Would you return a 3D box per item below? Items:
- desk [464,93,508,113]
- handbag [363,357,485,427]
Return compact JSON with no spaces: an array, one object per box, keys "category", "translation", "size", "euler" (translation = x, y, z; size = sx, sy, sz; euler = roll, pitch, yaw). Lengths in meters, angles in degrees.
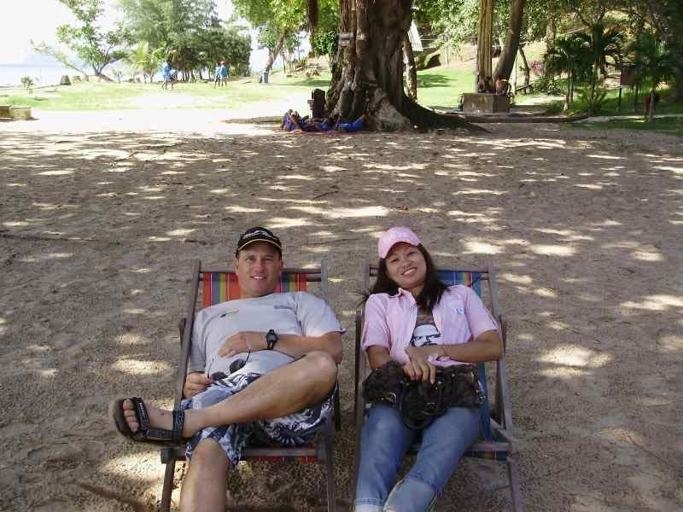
[{"category":"desk","translation":[6.164,-6.553,23.786],"size":[1.783,0.842,1.245],"euler":[2,13,16]},{"category":"handbag","translation":[0.467,0.754,3.083],"size":[0.498,0.204,0.363],"euler":[-4,1,11]}]
